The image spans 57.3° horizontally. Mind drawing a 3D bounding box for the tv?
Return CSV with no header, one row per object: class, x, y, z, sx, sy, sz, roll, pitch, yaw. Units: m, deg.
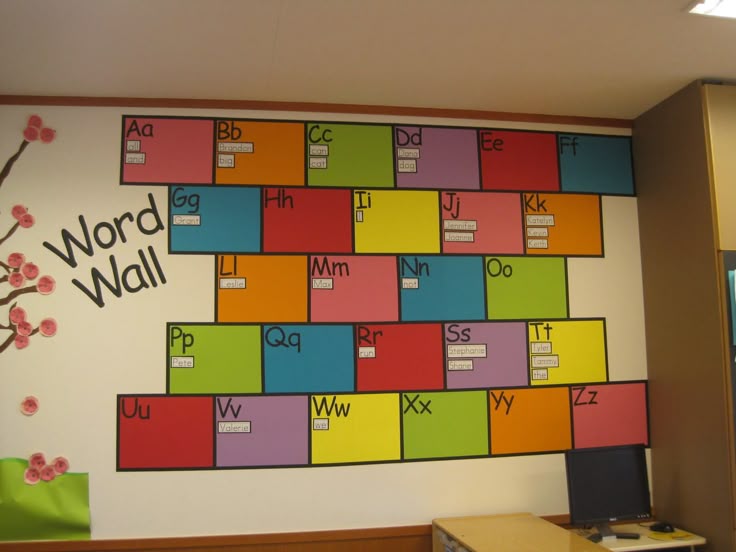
tv,1.452,1.321,4.085,0.463,0.508,0.162,1,-18,-7
